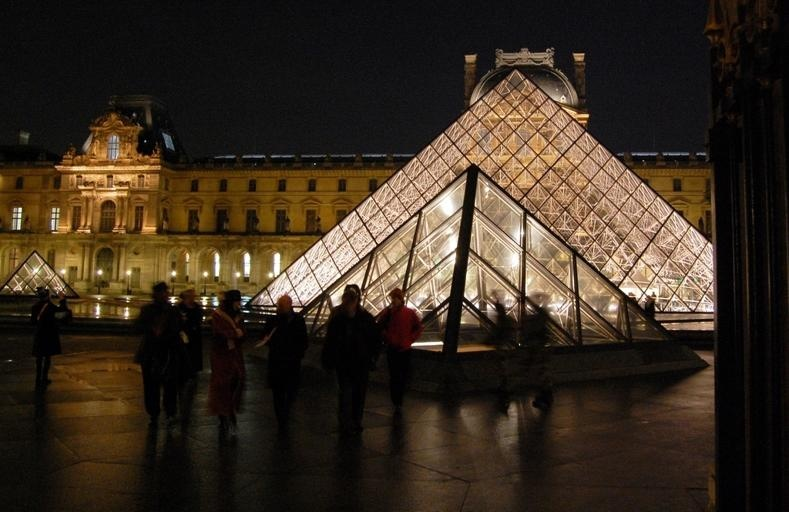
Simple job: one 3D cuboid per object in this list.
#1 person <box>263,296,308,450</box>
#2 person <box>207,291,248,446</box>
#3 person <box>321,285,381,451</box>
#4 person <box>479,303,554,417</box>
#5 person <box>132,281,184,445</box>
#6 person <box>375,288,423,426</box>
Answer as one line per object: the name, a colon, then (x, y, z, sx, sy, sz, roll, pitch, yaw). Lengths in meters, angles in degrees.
person: (-1.322, 1.269, 10.314, 0.536, 1.575, 0.774, -1, 6, -8)
person: (-1.987, 1.251, 10.110, 0.422, 1.665, 0.605, 2, 6, 13)
person: (-0.486, 1.224, 10.211, 0.653, 1.687, 0.523, -5, 8, -41)
person: (1.617, 1.448, 11.485, 1.143, 1.849, 0.634, -8, -16, 22)
person: (-2.822, 1.196, 10.302, 0.515, 1.699, 0.710, -1, 6, -13)
person: (0.062, 1.228, 10.886, 0.528, 1.562, 0.622, 0, 6, 0)
